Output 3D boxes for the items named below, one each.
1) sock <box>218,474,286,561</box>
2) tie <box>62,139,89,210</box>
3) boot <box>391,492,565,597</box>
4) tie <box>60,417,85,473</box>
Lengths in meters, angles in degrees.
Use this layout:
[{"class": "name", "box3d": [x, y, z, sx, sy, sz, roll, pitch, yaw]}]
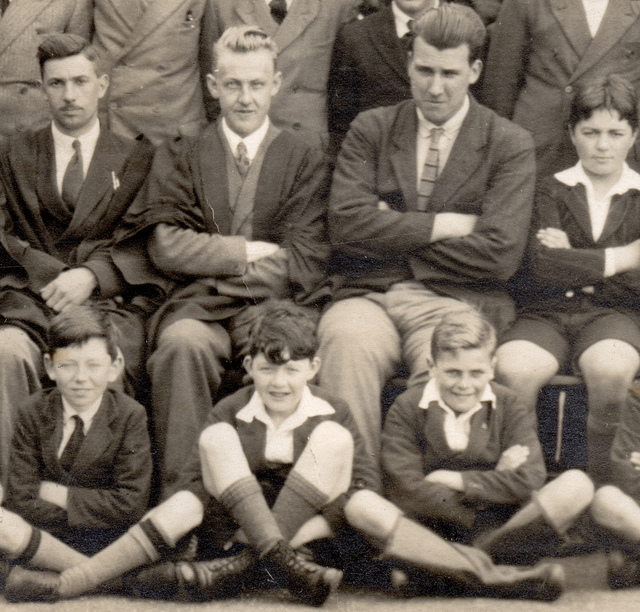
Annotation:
[{"class": "sock", "box3d": [-0.243, 0.857, 4.081, 0.346, 0.216, 0.161, 49, -4, 7]}, {"class": "tie", "box3d": [-1.121, -0.600, 4.565, 0.108, 0.320, 0.047, 24, 23, 26]}, {"class": "boot", "box3d": [0.657, 1.136, 4.264, 0.225, 0.753, 0.293, 49, 15, -13]}, {"class": "tie", "box3d": [-1.033, 0.593, 4.264, 0.091, 0.232, 0.071, 15, -6, 10]}]
